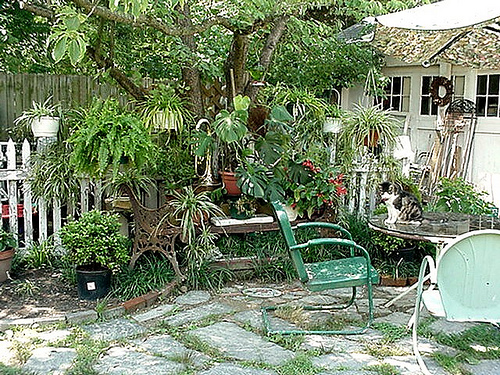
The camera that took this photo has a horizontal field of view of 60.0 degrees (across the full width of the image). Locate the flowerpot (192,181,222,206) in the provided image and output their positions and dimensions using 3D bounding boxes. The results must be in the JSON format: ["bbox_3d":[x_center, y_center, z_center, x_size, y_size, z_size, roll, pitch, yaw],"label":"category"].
[{"bbox_3d":[-0.526,0.062,5.327,0.294,0.223,0.290,0,1,-33],"label":"flowerpot"}]

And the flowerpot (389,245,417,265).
[{"bbox_3d":[1.852,0.808,5.214,0.221,0.145,0.223,0,-1,-10],"label":"flowerpot"}]

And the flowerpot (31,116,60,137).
[{"bbox_3d":[-2.437,-0.722,5.142,0.251,0.174,0.254,0,3,-5],"label":"flowerpot"}]

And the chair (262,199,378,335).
[{"bbox_3d":[0.645,0.685,4.393,1.310,1.507,0.936,-3,11,-6],"label":"chair"}]

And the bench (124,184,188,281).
[{"bbox_3d":[-0.913,0.539,5.230,0.958,1.191,0.746,1,1,-5],"label":"bench"}]

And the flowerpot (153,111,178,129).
[{"bbox_3d":[-1.056,-0.784,5.217,0.302,0.220,0.180,0,4,-7],"label":"flowerpot"}]

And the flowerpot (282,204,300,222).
[{"bbox_3d":[0.504,0.318,5.533,0.207,0.167,0.213,0,2,-12],"label":"flowerpot"}]

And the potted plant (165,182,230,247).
[{"bbox_3d":[-0.623,0.289,5.036,0.668,0.359,0.682,4,1,13],"label":"potted plant"}]

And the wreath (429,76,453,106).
[{"bbox_3d":[3.812,-1.937,8.662,0.426,0.600,0.251,4,9,21],"label":"wreath"}]

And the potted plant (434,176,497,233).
[{"bbox_3d":[2.652,0.207,5.334,0.472,0.327,0.428,5,25,-14],"label":"potted plant"}]

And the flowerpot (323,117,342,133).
[{"bbox_3d":[1.088,-0.834,5.753,0.196,0.144,0.192,-1,4,-39],"label":"flowerpot"}]

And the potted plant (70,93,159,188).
[{"bbox_3d":[-1.333,-0.449,4.679,1.028,0.787,1.087,8,8,43],"label":"potted plant"}]

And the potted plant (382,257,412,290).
[{"bbox_3d":[1.718,1.007,5.053,0.285,0.125,0.322,2,38,16],"label":"potted plant"}]

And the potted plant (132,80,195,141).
[{"bbox_3d":[-1.107,-0.904,5.421,0.724,0.561,0.784,0,3,-4],"label":"potted plant"}]

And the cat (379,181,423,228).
[{"bbox_3d":[1.497,0.171,4.320,0.503,0.518,0.310,0,5,3],"label":"cat"}]
